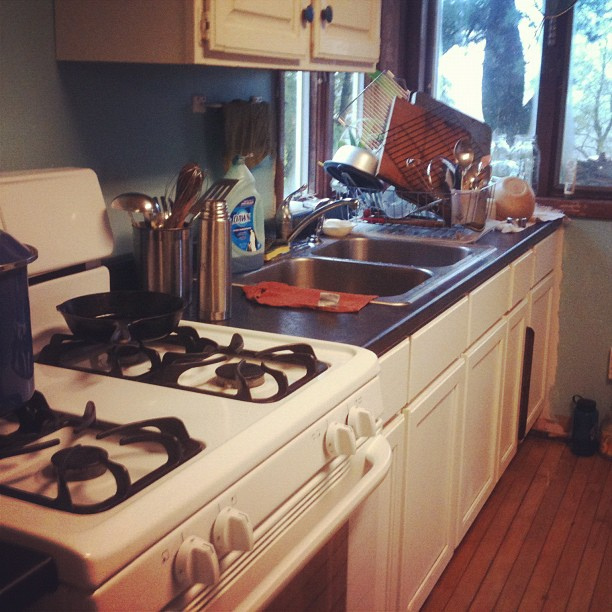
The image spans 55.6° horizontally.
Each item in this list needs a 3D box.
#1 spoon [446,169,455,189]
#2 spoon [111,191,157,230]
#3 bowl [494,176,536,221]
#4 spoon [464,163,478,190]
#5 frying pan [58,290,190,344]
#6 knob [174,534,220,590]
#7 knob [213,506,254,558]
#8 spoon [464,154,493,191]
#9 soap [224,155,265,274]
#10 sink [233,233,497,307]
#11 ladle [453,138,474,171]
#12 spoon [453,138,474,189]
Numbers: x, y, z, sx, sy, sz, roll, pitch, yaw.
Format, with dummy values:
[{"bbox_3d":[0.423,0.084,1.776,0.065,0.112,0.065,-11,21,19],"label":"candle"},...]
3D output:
[{"bbox_3d":[0.533,-0.472,2.140,0.018,0.067,0.046,-7,18,-15],"label":"spoon"},{"bbox_3d":[-0.363,-0.223,1.255,0.108,0.052,0.097,-6,21,-21],"label":"spoon"},{"bbox_3d":[0.851,-0.447,2.391,0.194,0.166,0.153,5,6,3],"label":"bowl"},{"bbox_3d":[0.605,-0.477,2.126,0.029,0.090,0.077,15,24,43],"label":"spoon"},{"bbox_3d":[-0.311,0.019,0.996,0.207,0.044,0.192,-2,17,-17],"label":"frying pan"},{"bbox_3d":[-0.101,0.249,0.566,0.036,0.040,0.045,0,1,10],"label":"knob"},{"bbox_3d":[-0.079,0.237,0.628,0.039,0.050,0.057,-4,17,-6],"label":"knob"},{"bbox_3d":[0.641,-0.500,2.175,0.049,0.057,0.283,-36,13,45],"label":"spoon"},{"bbox_3d":[-0.191,-0.255,1.602,0.167,0.315,0.094,-14,22,-38],"label":"soap"},{"bbox_3d":[0.215,-0.142,1.879,0.406,0.152,0.471,9,15,32],"label":"sink"},{"bbox_3d":[0.601,-0.576,2.191,0.083,0.142,0.046,5,-17,11],"label":"ladle"},{"bbox_3d":[0.597,-0.556,2.179,0.061,0.252,0.035,0,-30,11],"label":"spoon"}]
